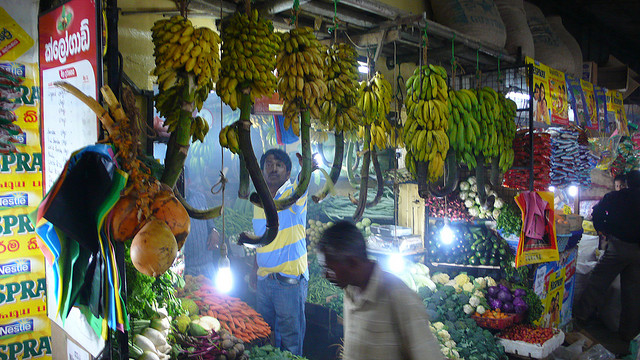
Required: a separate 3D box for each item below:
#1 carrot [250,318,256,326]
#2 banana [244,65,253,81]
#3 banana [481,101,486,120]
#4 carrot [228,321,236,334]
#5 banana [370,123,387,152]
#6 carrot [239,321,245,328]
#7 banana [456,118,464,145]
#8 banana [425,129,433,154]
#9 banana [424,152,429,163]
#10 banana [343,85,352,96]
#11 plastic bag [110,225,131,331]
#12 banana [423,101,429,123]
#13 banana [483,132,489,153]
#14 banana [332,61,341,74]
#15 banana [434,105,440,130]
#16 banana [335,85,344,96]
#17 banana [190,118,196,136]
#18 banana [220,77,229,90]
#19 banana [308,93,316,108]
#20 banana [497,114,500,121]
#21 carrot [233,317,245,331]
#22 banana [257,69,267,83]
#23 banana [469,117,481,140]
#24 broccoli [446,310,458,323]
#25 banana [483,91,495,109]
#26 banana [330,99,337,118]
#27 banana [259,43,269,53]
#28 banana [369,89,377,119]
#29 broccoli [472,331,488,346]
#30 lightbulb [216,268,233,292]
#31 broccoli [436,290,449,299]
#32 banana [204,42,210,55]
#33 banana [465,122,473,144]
[{"bbox_3d":[-0.725,1.532,5.017,0.023,0.083,0.019,-35,-13,21],"label":"carrot"},{"bbox_3d":[-0.554,-0.826,3.579,0.035,0.109,0.038,-9,1,2],"label":"banana"},{"bbox_3d":[1.717,-0.721,4.862,0.042,0.158,0.050,-10,-15,10],"label":"banana"},{"bbox_3d":[-0.914,1.534,4.834,0.036,0.127,0.037,-34,-21,12],"label":"carrot"},{"bbox_3d":[0.529,-0.379,4.198,0.120,0.255,0.083,-17,-15,0],"label":"banana"},{"bbox_3d":[-0.821,1.520,4.900,0.029,0.049,0.011,-13,-18,-48],"label":"carrot"},{"bbox_3d":[1.393,-0.490,4.652,0.065,0.256,0.084,5,-18,-3],"label":"banana"},{"bbox_3d":[1.037,-0.365,4.435,0.043,0.230,0.074,8,-12,-38],"label":"banana"},{"bbox_3d":[1.020,-0.220,4.431,0.025,0.082,0.025,9,-1,40],"label":"banana"},{"bbox_3d":[0.247,-0.764,3.982,0.025,0.110,0.037,-39,15,21],"label":"banana"},{"bbox_3d":[-1.583,0.624,3.655,0.146,1.078,0.145,-7,-43,-17],"label":"plastic bag"},{"bbox_3d":[1.021,-0.655,4.445,0.061,0.198,0.040,-4,-7,22],"label":"banana"},{"bbox_3d":[1.738,-0.392,4.849,0.041,0.204,0.072,5,-15,14],"label":"banana"},{"bbox_3d":[0.144,-0.969,3.999,0.033,0.114,0.040,-36,5,13],"label":"banana"},{"bbox_3d":[1.110,-0.591,4.442,0.075,0.200,0.052,1,1,-7],"label":"banana"},{"bbox_3d":[0.166,-0.754,3.952,0.031,0.112,0.040,-25,15,39],"label":"banana"},{"bbox_3d":[-1.004,-0.417,3.653,0.034,0.133,0.045,9,-2,-26],"label":"banana"},{"bbox_3d":[-0.742,-0.760,3.606,0.032,0.106,0.038,27,5,13],"label":"banana"},{"bbox_3d":[-0.063,-0.641,3.733,0.032,0.108,0.039,14,-3,2],"label":"banana"},{"bbox_3d":[1.940,-0.680,5.032,0.016,0.085,0.023,17,-25,17],"label":"banana"},{"bbox_3d":[-0.880,1.499,4.892,0.053,0.218,0.041,-43,-2,-19],"label":"carrot"},{"bbox_3d":[-0.453,-0.813,3.599,0.049,0.095,0.031,-11,5,-14],"label":"banana"},{"bbox_3d":[1.593,-0.543,4.794,0.082,0.230,0.059,-21,-4,-14],"label":"banana"},{"bbox_3d":[1.607,1.665,5.647,0.120,0.125,0.050,-25,2,-2],"label":"broccoli"},{"bbox_3d":[1.825,-0.867,5.012,0.104,0.183,0.049,-32,-19,7],"label":"banana"},{"bbox_3d":[0.116,-0.617,3.962,0.046,0.140,0.040,7,6,-1],"label":"banana"},{"bbox_3d":[-0.435,-1.022,3.600,0.027,0.089,0.031,-40,8,-10],"label":"banana"},{"bbox_3d":[0.485,-0.675,4.221,0.072,0.226,0.048,-2,-4,-6],"label":"banana"},{"bbox_3d":[1.884,1.855,5.441,0.092,0.036,0.147,-13,29,-13],"label":"broccoli"},{"bbox_3d":[-0.840,0.883,4.084,0.114,0.280,0.534,0,-3,-13],"label":"lightbulb"},{"bbox_3d":[1.535,1.429,5.785,0.071,0.126,0.044,-49,-12,-18],"label":"broccoli"},{"bbox_3d":[-0.864,-1.007,3.537,0.039,0.095,0.009,1,-4,-25],"label":"banana"},{"bbox_3d":[1.506,-0.469,4.687,0.049,0.183,0.060,4,-7,-9],"label":"banana"}]
